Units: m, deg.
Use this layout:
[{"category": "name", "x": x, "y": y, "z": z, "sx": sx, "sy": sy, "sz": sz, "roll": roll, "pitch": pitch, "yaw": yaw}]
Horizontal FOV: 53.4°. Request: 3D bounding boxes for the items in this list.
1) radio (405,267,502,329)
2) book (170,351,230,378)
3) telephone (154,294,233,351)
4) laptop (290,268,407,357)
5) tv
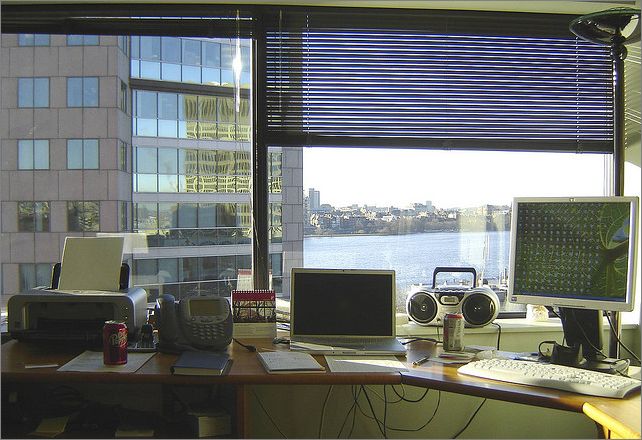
[{"category": "radio", "x": 0.820, "y": 0.487, "z": 3.962, "sx": 0.577, "sy": 0.373, "sz": 0.302, "roll": 1, "pitch": 1, "yaw": 15}, {"category": "book", "x": -0.633, "y": 0.764, "z": 3.364, "sx": 0.385, "sy": 0.070, "sz": 0.409, "roll": 0, "pitch": 0, "yaw": -3}, {"category": "telephone", "x": -0.728, "y": 0.575, "z": 3.663, "sx": 0.445, "sy": 0.157, "sz": 0.426, "roll": -1, "pitch": 22, "yaw": -16}, {"category": "laptop", "x": 0.137, "y": 0.494, "z": 3.893, "sx": 0.853, "sy": 0.505, "sz": 0.541, "roll": 1, "pitch": -1, "yaw": -9}, {"category": "tv", "x": 1.409, "y": 0.189, "z": 3.498, "sx": 0.672, "sy": 0.627, "sz": 0.069, "roll": 1, "pitch": -2, "yaw": 15}]
